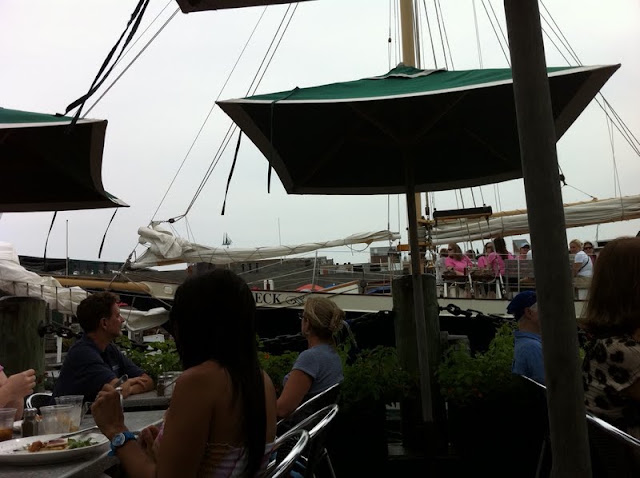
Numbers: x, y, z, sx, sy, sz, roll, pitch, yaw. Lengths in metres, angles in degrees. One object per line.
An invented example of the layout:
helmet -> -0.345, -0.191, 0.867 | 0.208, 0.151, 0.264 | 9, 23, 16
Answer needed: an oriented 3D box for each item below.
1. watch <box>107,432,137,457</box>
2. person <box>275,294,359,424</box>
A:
watch -> -0.818, 0.818, 2.073 | 0.085, 0.086, 0.081 | -34, 14, 1
person -> -0.111, 1.008, 3.931 | 0.633, 1.102, 0.600 | -13, -27, 39
